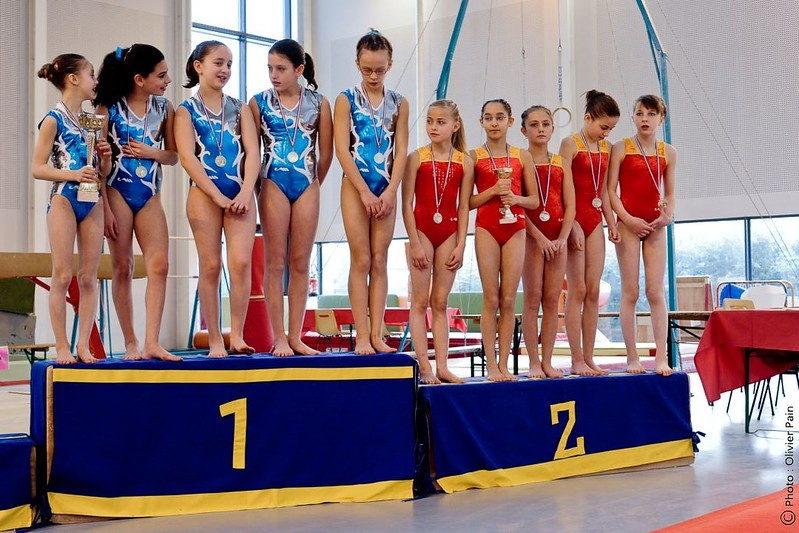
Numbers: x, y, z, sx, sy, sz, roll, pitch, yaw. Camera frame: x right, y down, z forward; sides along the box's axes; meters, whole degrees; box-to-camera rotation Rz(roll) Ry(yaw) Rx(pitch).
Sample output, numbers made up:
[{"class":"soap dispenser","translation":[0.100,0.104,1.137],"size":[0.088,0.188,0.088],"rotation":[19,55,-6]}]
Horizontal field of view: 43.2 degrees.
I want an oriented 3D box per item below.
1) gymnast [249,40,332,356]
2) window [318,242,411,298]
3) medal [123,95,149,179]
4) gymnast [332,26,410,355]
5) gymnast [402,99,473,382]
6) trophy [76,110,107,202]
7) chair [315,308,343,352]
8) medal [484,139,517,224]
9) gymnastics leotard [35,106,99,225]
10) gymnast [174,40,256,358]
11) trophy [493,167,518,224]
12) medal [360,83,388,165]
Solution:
[{"class":"gymnast","translation":[-0.825,-0.533,7.854],"size":[0.615,2.374,0.692],"rotation":[0,14,-5]},{"class":"window","translation":[-0.700,0.030,18.650],"size":[1.747,0.961,1.179],"rotation":[-3,-8,8]},{"class":"medal","translation":[-1.998,-0.970,7.732],"size":[0.187,0.559,0.228],"rotation":[1,14,-2]},{"class":"gymnast","translation":[-0.232,-0.400,7.946],"size":[0.569,2.041,0.711],"rotation":[0,14,-3]},{"class":"gymnast","translation":[0.287,-0.174,8.085],"size":[0.562,2.240,0.859],"rotation":[2,14,3]},{"class":"trophy","translation":[-2.295,-0.804,7.549],"size":[0.224,0.646,0.352],"rotation":[-3,14,-16]},{"class":"chair","translation":[-0.937,0.916,13.589],"size":[0.383,0.598,0.410],"rotation":[1,-7,23]},{"class":"medal","translation":[0.845,-0.690,8.165],"size":[0.250,0.678,0.165],"rotation":[-8,1,13]},{"class":"gymnastics leotard","translation":[-2.514,-0.733,7.667],"size":[0.522,0.839,0.303],"rotation":[5,-5,-32]},{"class":"gymnast","translation":[-1.397,-0.521,7.766],"size":[0.620,2.326,0.669],"rotation":[-1,14,-7]},{"class":"trophy","translation":[0.860,-0.565,8.128],"size":[0.161,0.448,0.211],"rotation":[1,14,-2]},{"class":"medal","translation":[-0.199,-1.131,7.918],"size":[0.158,0.489,0.023],"rotation":[-13,-6,-4]}]
